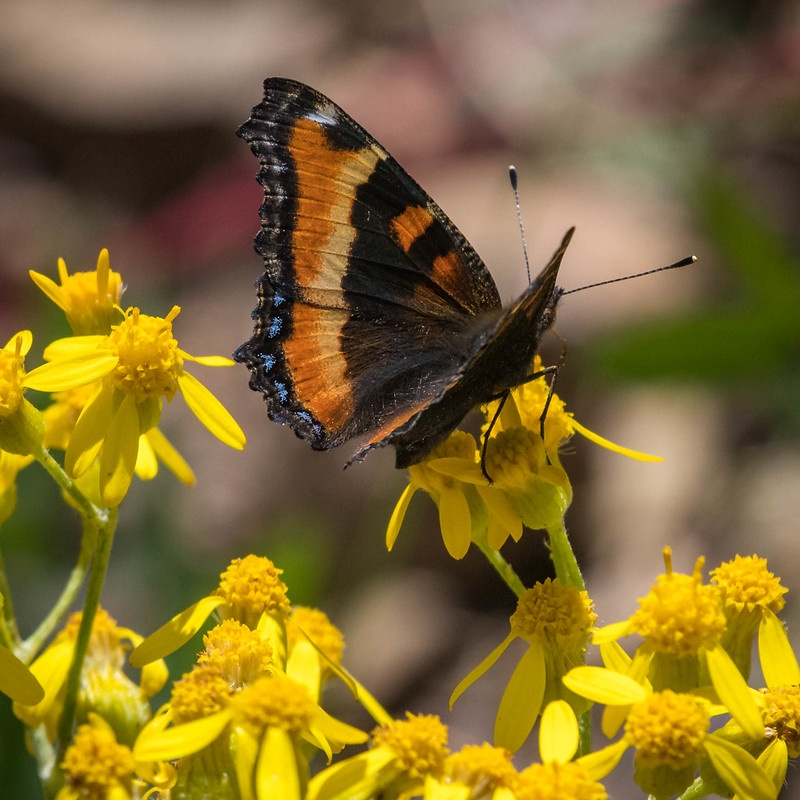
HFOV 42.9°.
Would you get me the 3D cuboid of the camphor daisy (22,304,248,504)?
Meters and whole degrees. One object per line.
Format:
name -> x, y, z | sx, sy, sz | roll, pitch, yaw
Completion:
camphor daisy -> -0.630, 0.029, 2.465 | 0.496, 0.471, 0.224 | 36, -24, 2
